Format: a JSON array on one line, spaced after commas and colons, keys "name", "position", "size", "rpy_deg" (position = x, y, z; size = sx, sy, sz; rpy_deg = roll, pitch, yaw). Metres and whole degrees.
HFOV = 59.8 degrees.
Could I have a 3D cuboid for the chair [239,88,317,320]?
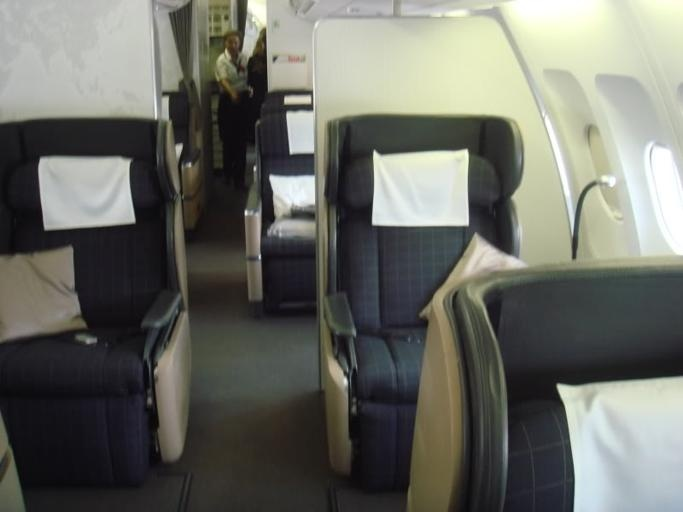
[{"name": "chair", "position": [-0.257, -0.307, 3.605], "size": [0.595, 1.152, 0.780], "rpy_deg": [-3, 16, -11]}]
